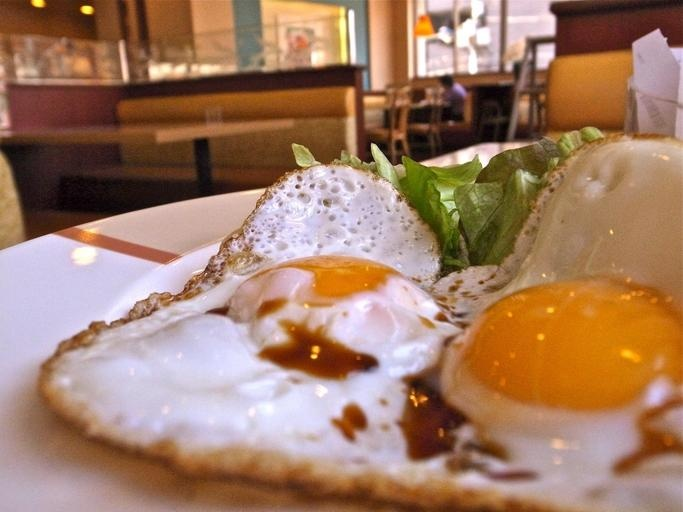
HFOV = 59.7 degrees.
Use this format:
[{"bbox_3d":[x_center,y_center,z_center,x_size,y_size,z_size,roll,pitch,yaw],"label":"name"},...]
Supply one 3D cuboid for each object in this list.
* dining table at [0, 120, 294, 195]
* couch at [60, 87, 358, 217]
[{"bbox_3d":[-1.138,-0.749,3.667,0.905,0.513,0.909,14,24,36],"label":"dining table"},{"bbox_3d":[-0.854,-0.700,3.794,1.639,0.679,0.822,2,5,22],"label":"couch"}]
